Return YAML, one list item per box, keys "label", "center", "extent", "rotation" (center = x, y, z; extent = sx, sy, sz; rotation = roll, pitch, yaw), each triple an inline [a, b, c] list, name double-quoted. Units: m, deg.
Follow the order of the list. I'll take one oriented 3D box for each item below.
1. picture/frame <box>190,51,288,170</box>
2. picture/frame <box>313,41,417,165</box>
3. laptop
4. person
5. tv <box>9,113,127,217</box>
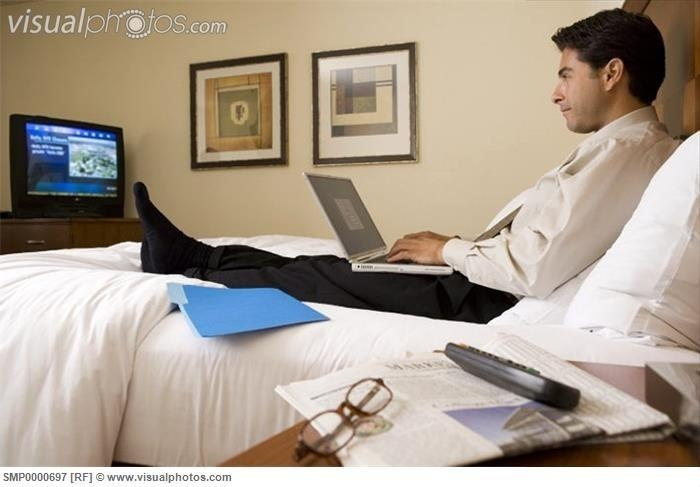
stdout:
- label: "picture/frame"
  center: [-0.702, -0.880, 3.254]
  extent: [0.778, 0.810, 0.030]
  rotation: [0, 0, 11]
- label: "picture/frame"
  center: [0.116, -0.874, 3.028]
  extent: [0.754, 0.817, 0.032]
  rotation: [0, 2, 18]
- label: "laptop"
  center: [0.059, -0.066, 1.811]
  extent: [0.410, 0.264, 0.418]
  rotation: [2, 5, 12]
- label: "person"
  center: [0.143, -0.224, 1.751]
  extent: [1.705, 0.984, 0.797]
  rotation: [1, 4, 13]
- label: "tv"
  center: [-1.803, -0.480, 3.148]
  extent: [0.692, 0.667, 0.385]
  rotation: [1, -4, -37]
